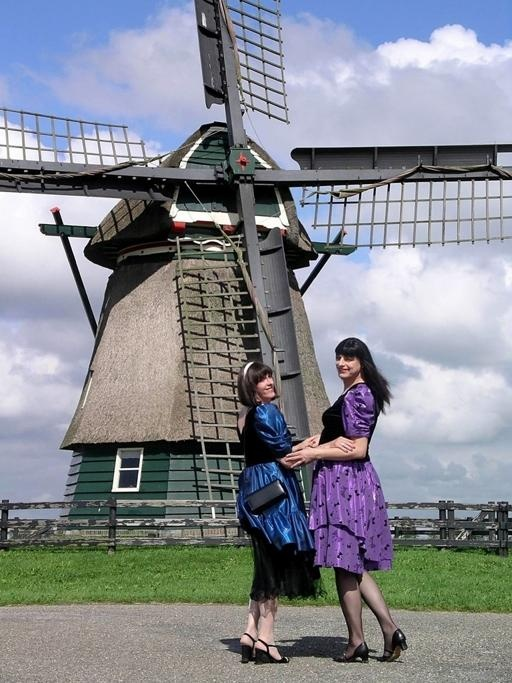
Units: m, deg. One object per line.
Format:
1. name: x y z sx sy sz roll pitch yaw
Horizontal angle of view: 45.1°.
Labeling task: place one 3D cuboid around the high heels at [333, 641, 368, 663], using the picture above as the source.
1. high heels: 0.487 1.698 3.384 0.245 0.098 0.079 -10 -20 32

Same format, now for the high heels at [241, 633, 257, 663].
1. high heels: -0.044 1.685 3.399 0.064 0.073 0.173 -1 -5 9

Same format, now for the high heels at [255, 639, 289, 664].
1. high heels: 0.086 1.716 3.394 0.184 0.129 0.127 -1 -6 -1

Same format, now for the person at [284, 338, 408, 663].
1. person: 0.516 0.893 3.535 0.585 1.858 0.525 -2 -6 11
